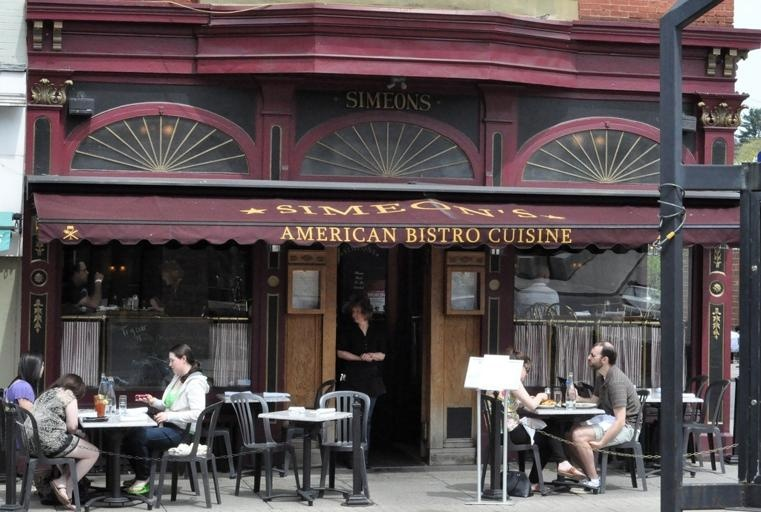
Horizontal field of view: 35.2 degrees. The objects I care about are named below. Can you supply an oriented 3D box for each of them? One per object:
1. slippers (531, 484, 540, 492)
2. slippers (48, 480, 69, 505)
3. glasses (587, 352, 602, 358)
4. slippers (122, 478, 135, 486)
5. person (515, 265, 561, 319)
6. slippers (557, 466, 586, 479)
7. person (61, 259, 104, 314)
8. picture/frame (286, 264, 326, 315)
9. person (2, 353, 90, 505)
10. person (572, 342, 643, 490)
[{"bbox_3d":[2.205,3.263,16.929,0.125,0.112,0.033,-1,-17,10],"label":"slippers"},{"bbox_3d":[-4.222,3.130,15.873,0.161,0.439,0.162,-30,-24,-13],"label":"slippers"},{"bbox_3d":[3.073,1.403,17.130,0.158,0.102,0.115,-11,20,15],"label":"glasses"},{"bbox_3d":[-3.543,3.162,16.826,0.108,0.125,0.108,-4,-29,36],"label":"slippers"},{"bbox_3d":[2.475,0.536,18.909,0.690,0.765,0.170,-2,-7,4],"label":"person"},{"bbox_3d":[2.714,3.070,17.046,0.437,0.161,0.168,0,0,1],"label":"slippers"},{"bbox_3d":[-4.460,0.455,17.933,0.540,0.754,0.119,1,-8,-18],"label":"person"},{"bbox_3d":[-1.162,0.521,18.318,0.777,0.960,0.329,1,-7,-13],"label":"picture/frame"},{"bbox_3d":[-4.307,2.304,15.906,1.077,2.029,0.712,0,-8,-13],"label":"person"},{"bbox_3d":[3.207,2.254,17.035,0.987,2.062,0.510,-3,-7,10],"label":"person"}]
